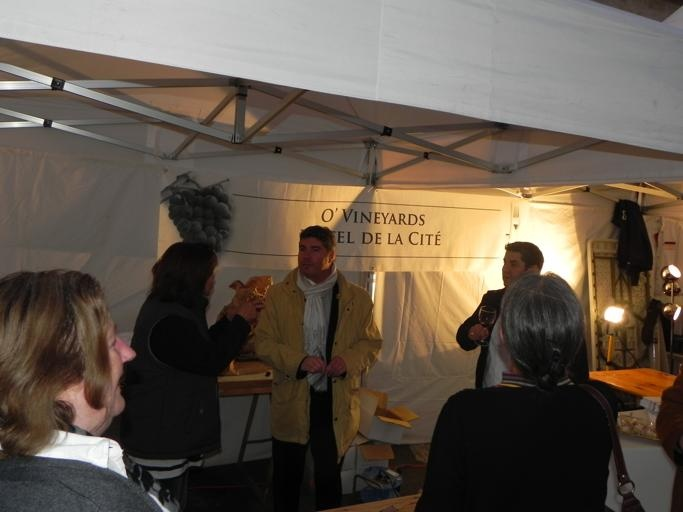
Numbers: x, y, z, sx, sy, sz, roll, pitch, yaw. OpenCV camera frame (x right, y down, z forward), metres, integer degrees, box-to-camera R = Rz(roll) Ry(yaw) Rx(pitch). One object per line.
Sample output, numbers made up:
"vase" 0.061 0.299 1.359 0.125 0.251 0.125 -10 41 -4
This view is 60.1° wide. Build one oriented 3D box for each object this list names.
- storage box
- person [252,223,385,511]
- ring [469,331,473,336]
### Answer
"storage box" 0.320 1.279 4.631 0.581 0.409 0.619 22 -6 13
"person" -0.162 0.675 3.575 0.783 1.737 0.442 4 -3 1
"ring" 0.727 0.435 3.321 0.027 0.026 0.007 2 4 29
